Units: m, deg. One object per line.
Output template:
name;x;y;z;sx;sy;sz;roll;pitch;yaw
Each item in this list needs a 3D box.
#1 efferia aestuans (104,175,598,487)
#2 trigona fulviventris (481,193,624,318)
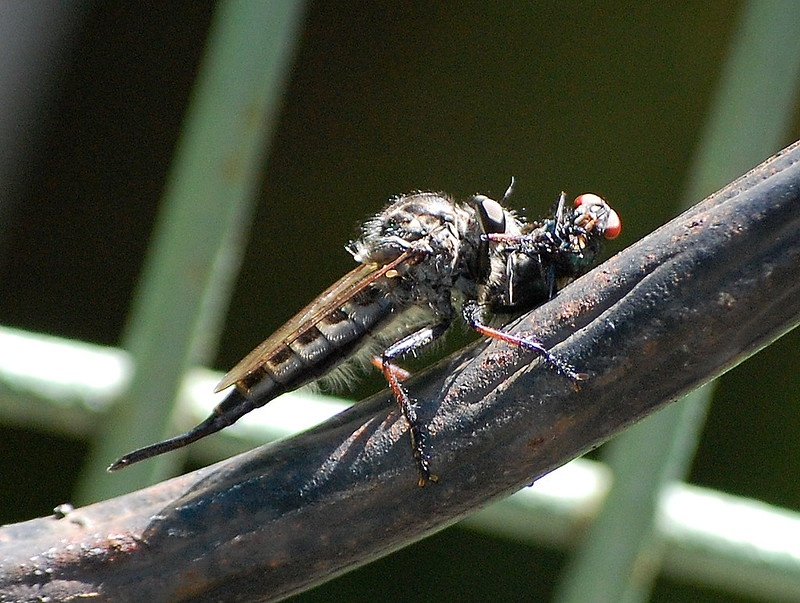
efferia aestuans;-0.038;-0.046;2.393;1.115;0.786;0.410;-32;-84;5
trigona fulviventris;0.364;-0.118;2.244;0.378;0.221;0.184;-23;-64;20
